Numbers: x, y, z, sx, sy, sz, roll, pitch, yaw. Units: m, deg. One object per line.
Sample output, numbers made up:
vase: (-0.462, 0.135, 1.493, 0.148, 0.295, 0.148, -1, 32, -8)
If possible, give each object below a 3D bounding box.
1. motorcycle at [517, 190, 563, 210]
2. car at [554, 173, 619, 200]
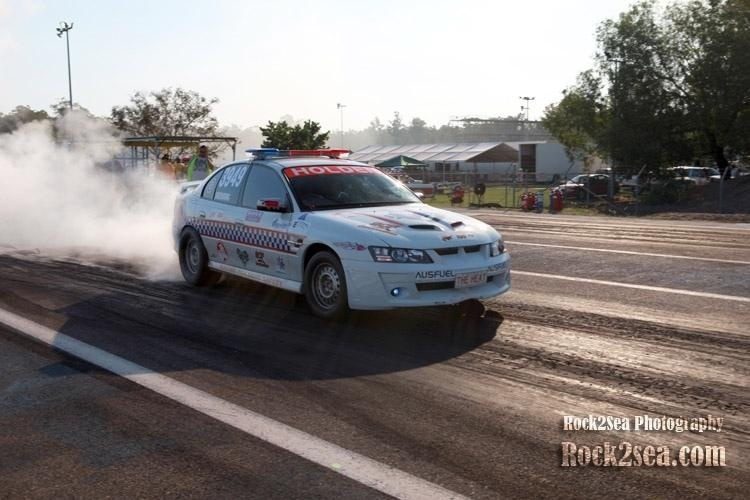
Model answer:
motorcycle: (8.759, -2.489, 25.592, 2.020, 1.033, 2.317, 0, 7, 12)
car: (15.012, -4.690, 34.245, 6.715, 1.677, 2.798, -3, 2, -39)
